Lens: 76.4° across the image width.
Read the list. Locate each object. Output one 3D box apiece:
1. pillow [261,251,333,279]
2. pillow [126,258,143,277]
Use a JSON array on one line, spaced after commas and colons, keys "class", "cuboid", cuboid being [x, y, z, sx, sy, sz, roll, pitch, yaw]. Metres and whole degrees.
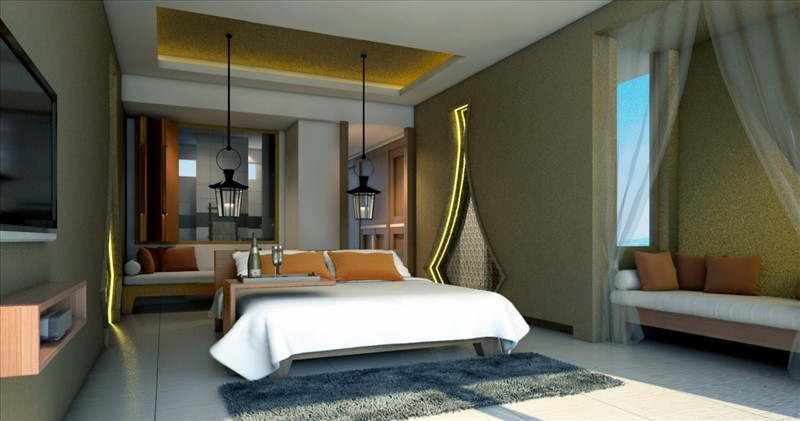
[{"class": "pillow", "cuboid": [-1.301, 0.714, 6.862, 0.574, 0.143, 0.526, 0, 13, -14]}, {"class": "pillow", "cuboid": [-4.321, 0.932, 8.233, 0.249, 0.209, 0.280, 8, -4, -17]}]
